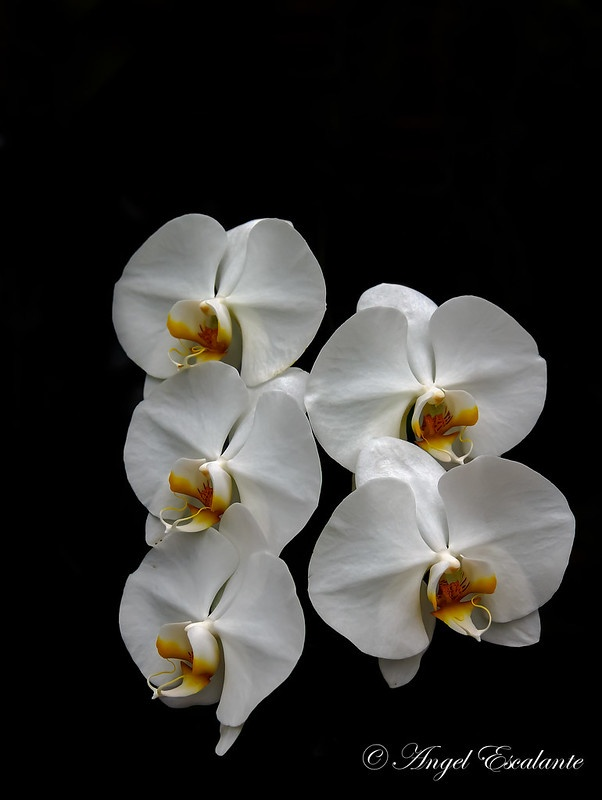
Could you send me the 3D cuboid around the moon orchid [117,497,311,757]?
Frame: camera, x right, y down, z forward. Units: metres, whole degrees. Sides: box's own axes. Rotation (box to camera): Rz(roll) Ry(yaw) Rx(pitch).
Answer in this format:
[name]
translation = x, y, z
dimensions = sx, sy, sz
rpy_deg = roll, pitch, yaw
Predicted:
[moon orchid]
translation = -0.161, 0.382, 1.445
dimensions = 0.325, 0.249, 0.345
rpy_deg = -33, 59, -11
